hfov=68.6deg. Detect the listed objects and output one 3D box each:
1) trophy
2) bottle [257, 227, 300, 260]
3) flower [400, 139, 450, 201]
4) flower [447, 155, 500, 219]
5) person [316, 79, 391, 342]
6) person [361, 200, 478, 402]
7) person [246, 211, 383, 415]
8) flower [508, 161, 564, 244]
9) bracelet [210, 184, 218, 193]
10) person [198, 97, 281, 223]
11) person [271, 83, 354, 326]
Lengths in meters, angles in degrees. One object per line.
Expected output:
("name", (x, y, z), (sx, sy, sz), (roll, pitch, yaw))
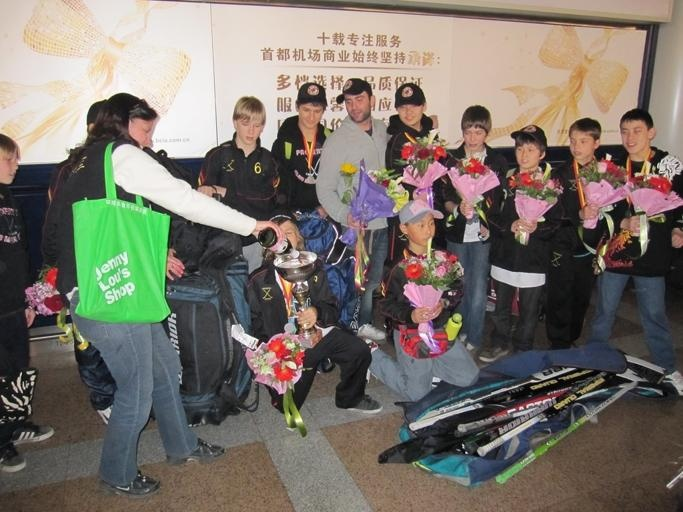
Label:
("trophy", (-0.315, 0.278, 3.594), (0.310, 0.676, 0.326), (-1, 23, -29))
("bottle", (-0.425, -0.095, 3.451), (0.106, 0.135, 0.323), (-21, -17, 9))
("flower", (0.686, -0.770, 4.297), (0.338, 0.535, 0.368), (-9, 25, -30))
("flower", (1.120, -0.644, 4.472), (0.504, 0.530, 0.482), (-13, 19, -35))
("person", (0.113, -0.494, 4.743), (0.646, 2.176, 0.642), (0, 25, -17))
("person", (0.642, 0.454, 3.889), (0.555, 2.075, 0.615), (-7, 16, -28))
("person", (-0.227, 0.544, 3.892), (0.811, 1.648, 0.789), (-11, 19, -35))
("flower", (1.626, -0.528, 4.241), (0.412, 0.486, 0.307), (5, 13, 19))
("bracelet", (-1.084, -0.584, 4.258), (0.061, 0.049, 0.047), (27, 19, 21))
("person", (-0.884, -0.804, 4.470), (0.630, 1.123, 0.688), (-8, 29, -25))
("person", (-0.252, -0.567, 4.599), (0.738, 2.372, 0.709), (-3, 27, -19))
